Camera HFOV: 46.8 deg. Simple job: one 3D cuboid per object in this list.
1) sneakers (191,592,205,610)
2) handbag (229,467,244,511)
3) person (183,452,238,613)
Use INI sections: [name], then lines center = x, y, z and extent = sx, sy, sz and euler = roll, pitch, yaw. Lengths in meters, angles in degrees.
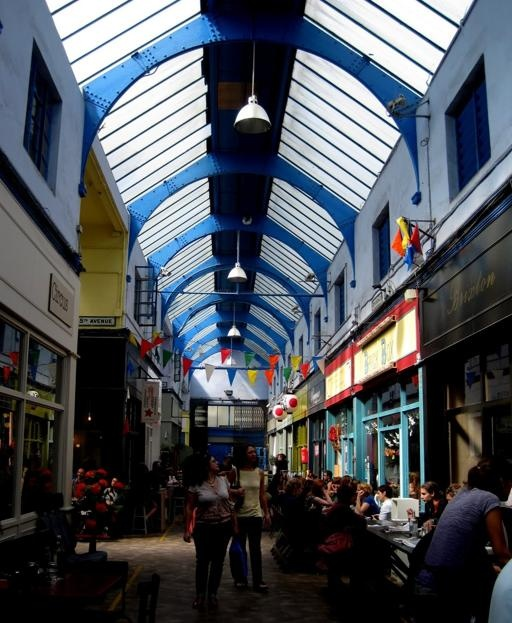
[sneakers]
center = -0.526, 2.670, 5.464
extent = 0.082, 0.203, 0.178
euler = 3, -24, -4
[handbag]
center = -0.248, 1.934, 6.422
extent = 0.201, 0.417, 0.352
euler = 0, -4, -3
[person]
center = -0.446, 2.073, 5.668
extent = 0.516, 1.374, 0.430
euler = 5, -15, -18
